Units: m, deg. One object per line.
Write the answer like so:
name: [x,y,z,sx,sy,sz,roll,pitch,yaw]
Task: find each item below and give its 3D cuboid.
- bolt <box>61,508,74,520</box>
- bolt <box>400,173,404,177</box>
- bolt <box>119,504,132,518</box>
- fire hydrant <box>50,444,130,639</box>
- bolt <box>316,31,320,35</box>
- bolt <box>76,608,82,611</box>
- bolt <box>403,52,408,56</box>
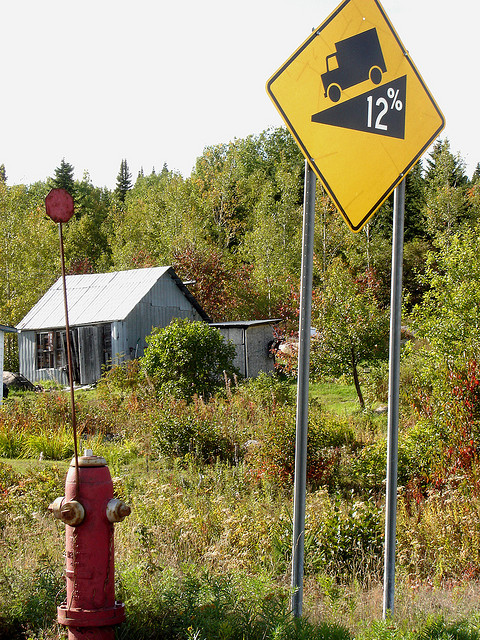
bolt: [-0.838,0.950,4.970,0.067,0.055,0.017,-6,-7,28]
bolt: [0.850,-0.758,5.377,0.008,0.023,0.032,-7,-8,42]
bolt: [-0.567,0.949,5.046,0.049,0.064,0.158,-2,-8,-3]
fire hydrant: [-0.739,1.118,5.068,0.398,0.926,0.255,-1,-6,-5]
bolt: [0.388,-1.437,5.129,0.014,0.019,0.004,1,7,-6]
bolt: [-0.785,1.422,4.990,0.030,0.011,0.015,-3,-7,0]
bolt: [0.869,-1.398,5.387,0.029,0.018,0.002,2,-6,-32]
